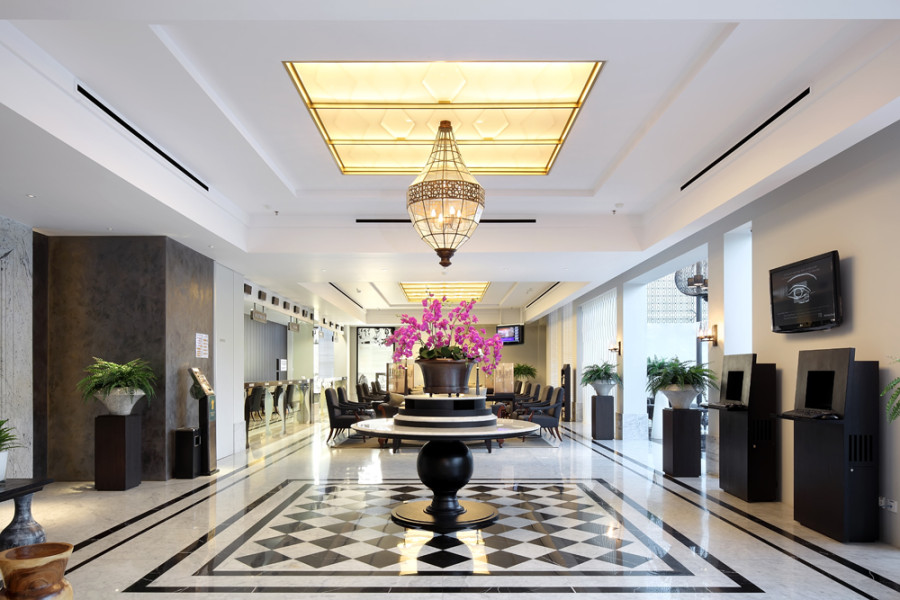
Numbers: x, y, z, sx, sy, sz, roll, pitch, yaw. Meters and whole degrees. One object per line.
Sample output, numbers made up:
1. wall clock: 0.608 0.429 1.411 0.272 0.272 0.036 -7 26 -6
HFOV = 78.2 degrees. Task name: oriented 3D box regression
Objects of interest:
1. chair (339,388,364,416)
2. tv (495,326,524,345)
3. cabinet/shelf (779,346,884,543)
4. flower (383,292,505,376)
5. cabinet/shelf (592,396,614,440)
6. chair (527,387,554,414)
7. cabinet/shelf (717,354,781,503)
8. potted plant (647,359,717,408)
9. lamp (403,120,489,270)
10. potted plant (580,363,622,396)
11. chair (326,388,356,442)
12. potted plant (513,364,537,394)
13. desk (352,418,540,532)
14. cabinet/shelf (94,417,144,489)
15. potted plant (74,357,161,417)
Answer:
1. chair: -2.540 2.629 13.854 0.681 0.809 0.574 -1 -8 9
2. tv: 2.129 1.243 19.292 0.890 0.616 0.468 -4 -12 26
3. cabinet/shelf: 4.187 1.578 6.077 0.542 2.057 0.908 6 -9 -33
4. flower: 0.052 0.269 6.685 1.484 1.006 1.083 10 -15 -22
5. cabinet/shelf: 3.616 2.798 13.083 0.508 1.041 0.351 -1 -8 11
6. chair: 2.463 2.806 15.018 0.705 0.800 0.575 5 -20 -8
7. cabinet/shelf: 4.061 1.738 7.545 0.823 1.960 0.537 -7 -11 44
8. potted plant: 3.793 1.360 9.135 0.915 0.621 0.935 -5 -9 30
9. lamp: -0.055 -1.352 6.327 0.800 1.864 0.737 -6 -10 39
10. potted plant: 3.599 1.903 13.257 0.881 0.609 0.867 -1 -6 6
11. chair: -2.687 2.770 13.275 0.665 1.206 2.575 2 -9 -12
12. potted plant: 2.853 3.064 21.348 0.894 0.953 0.912 2 -5 -14
13. desk: -0.050 2.125 6.576 1.611 0.776 1.618 2 -13 -11
14. cabinet/shelf: -4.906 2.271 8.162 0.635 1.076 0.345 5 -9 -30
15. potted plant: -4.966 1.268 8.339 0.924 0.640 0.948 -1 -4 28
